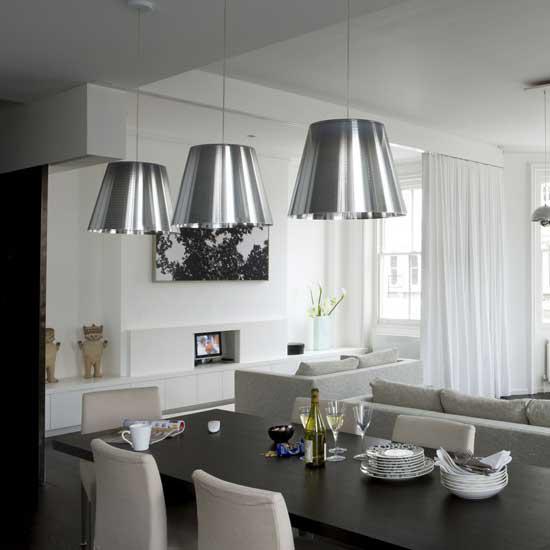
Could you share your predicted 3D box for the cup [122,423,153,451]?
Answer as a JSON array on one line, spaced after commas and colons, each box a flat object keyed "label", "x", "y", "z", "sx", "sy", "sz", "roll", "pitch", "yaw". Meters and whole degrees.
[{"label": "cup", "x": -0.596, "y": 0.669, "z": 2.247, "sx": 0.151, "sy": 0.128, "sz": 0.107, "roll": -2, "pitch": -4, "yaw": 21}]

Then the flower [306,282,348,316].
[{"label": "flower", "x": 0.870, "y": 0.401, "z": 8.757, "sx": 0.565, "sy": 0.829, "sz": 0.467, "roll": 2, "pitch": -4, "yaw": -17}]

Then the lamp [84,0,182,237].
[{"label": "lamp", "x": -0.815, "y": -0.719, "z": 3.075, "sx": 0.383, "sy": 1.075, "sz": 1.637, "roll": 0, "pitch": -1, "yaw": -13}]

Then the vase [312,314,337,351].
[{"label": "vase", "x": 0.824, "y": 0.936, "z": 8.746, "sx": 0.238, "sy": 0.555, "sz": 0.665, "roll": -1, "pitch": -2, "yaw": 26}]

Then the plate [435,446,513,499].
[{"label": "plate", "x": 0.587, "y": 0.586, "z": 1.619, "sx": 0.124, "sy": 0.086, "sz": 0.153, "roll": -1, "pitch": -1, "yaw": -17}]

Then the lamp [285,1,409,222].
[{"label": "lamp", "x": 0.279, "y": -0.388, "z": 1.607, "sx": 0.323, "sy": 0.802, "sz": 0.356, "roll": 0, "pitch": 0, "yaw": 19}]

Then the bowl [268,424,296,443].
[{"label": "bowl", "x": 0.026, "y": 0.655, "z": 2.259, "sx": 0.082, "sy": 0.047, "sz": 0.085, "roll": -2, "pitch": 0, "yaw": 0}]

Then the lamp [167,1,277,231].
[{"label": "lamp", "x": -0.203, "y": -0.396, "z": 1.741, "sx": 0.342, "sy": 0.905, "sz": 0.366, "roll": 0, "pitch": 1, "yaw": -30}]
